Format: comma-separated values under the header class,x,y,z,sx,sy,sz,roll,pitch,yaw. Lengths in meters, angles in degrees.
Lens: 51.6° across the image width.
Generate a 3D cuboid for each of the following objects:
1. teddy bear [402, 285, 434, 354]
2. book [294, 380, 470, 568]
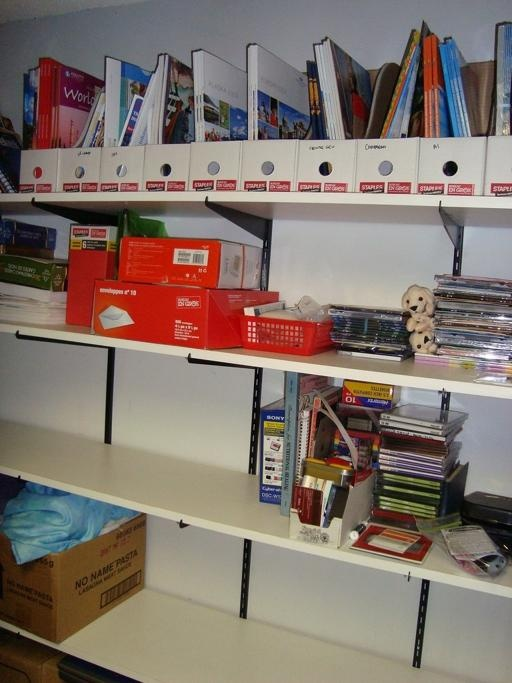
class,x,y,z,sx,sy,sz,roll,pitch,yaw
teddy bear,0.382,-0.050,1.229,0.078,0.152,0.104,2,-2,26
book,0.296,0.248,1.266,0.344,0.327,0.377,4,0,29
